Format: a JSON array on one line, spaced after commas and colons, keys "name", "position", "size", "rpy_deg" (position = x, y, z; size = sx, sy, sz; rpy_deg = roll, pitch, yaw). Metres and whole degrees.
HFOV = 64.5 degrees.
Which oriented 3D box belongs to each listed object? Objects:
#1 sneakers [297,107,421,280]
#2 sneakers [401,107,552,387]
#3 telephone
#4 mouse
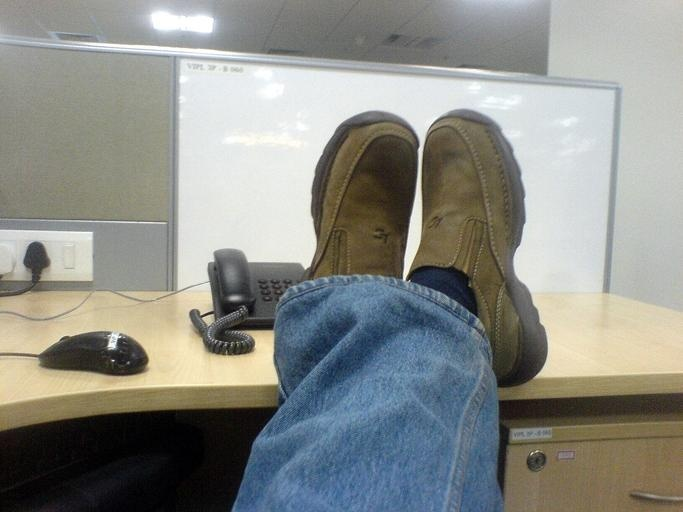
[{"name": "sneakers", "position": [0.039, -0.094, 0.851], "size": [0.115, 0.354, 0.133], "rpy_deg": [2, 0, -4]}, {"name": "sneakers", "position": [0.177, -0.033, 0.826], "size": [0.152, 0.458, 0.185], "rpy_deg": [-15, -16, 28]}, {"name": "telephone", "position": [-0.118, 0.042, 0.883], "size": [0.170, 0.077, 0.221], "rpy_deg": [-3, 18, -21]}, {"name": "mouse", "position": [-0.301, 0.117, 0.651], "size": [0.095, 0.035, 0.059], "rpy_deg": [8, -5, 1]}]
